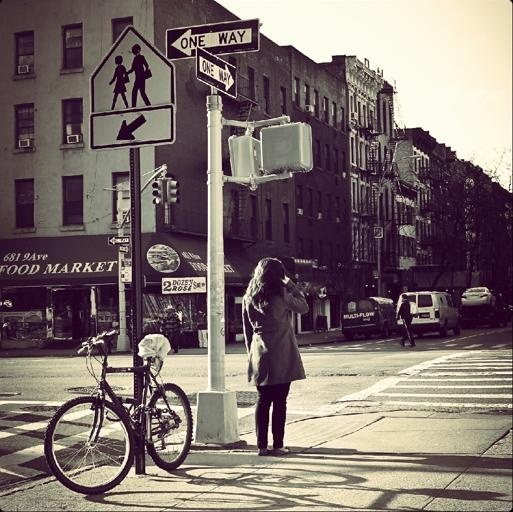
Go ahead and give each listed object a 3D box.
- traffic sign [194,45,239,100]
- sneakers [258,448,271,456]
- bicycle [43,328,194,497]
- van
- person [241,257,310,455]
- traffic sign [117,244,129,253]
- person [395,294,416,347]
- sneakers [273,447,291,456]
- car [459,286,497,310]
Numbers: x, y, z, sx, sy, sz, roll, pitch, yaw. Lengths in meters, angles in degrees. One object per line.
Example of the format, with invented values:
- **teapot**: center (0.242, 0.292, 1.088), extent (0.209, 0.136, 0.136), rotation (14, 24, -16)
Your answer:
- **traffic sign**: center (-0.458, -2.082, 9.665), extent (0.014, 0.435, 0.823), rotation (-5, -9, 33)
- **sneakers**: center (0.082, 1.948, 8.497), extent (0.048, 0.081, 0.154), rotation (0, 4, 31)
- **bicycle**: center (-1.145, 1.416, 7.724), extent (0.476, 1.344, 1.756), rotation (-9, -6, 36)
- **van**: center (4.781, 2.630, 35.853), extent (1.619, 1.699, 3.357), rotation (-5, -7, 24)
- **person**: center (0.201, 1.004, 8.697), extent (0.643, 1.989, 0.420), rotation (-1, -5, 0)
- **traffic sign**: center (-4.773, -0.269, 30.725), extent (0.390, 0.292, 0.389), rotation (-3, 5, -19)
- **person**: center (4.930, 2.098, 27.969), extent (0.518, 1.809, 3.129), rotation (-2, -6, 10)
- **sneakers**: center (0.267, 1.960, 8.542), extent (0.231, 0.077, 0.110), rotation (4, -9, -42)
- **car**: center (11.303, 2.158, 43.208), extent (1.676, 1.087, 1.832), rotation (-4, -7, 16)
